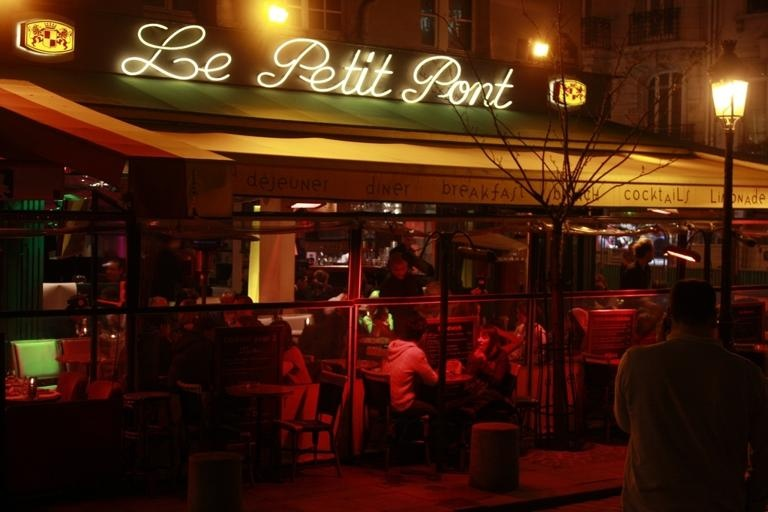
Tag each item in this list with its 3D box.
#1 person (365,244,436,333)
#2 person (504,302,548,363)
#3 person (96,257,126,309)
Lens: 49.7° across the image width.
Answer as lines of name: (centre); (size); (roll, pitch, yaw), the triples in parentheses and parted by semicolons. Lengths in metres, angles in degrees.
person: (0.204, 0.508, 12.213); (0.765, 1.658, 0.532); (20, -21, -23)
person: (2.312, 1.273, 13.066); (0.711, 1.063, 0.586); (-16, -34, 40)
person: (-3.519, 0.405, 10.657); (0.407, 0.705, 0.398); (-4, -32, -22)
